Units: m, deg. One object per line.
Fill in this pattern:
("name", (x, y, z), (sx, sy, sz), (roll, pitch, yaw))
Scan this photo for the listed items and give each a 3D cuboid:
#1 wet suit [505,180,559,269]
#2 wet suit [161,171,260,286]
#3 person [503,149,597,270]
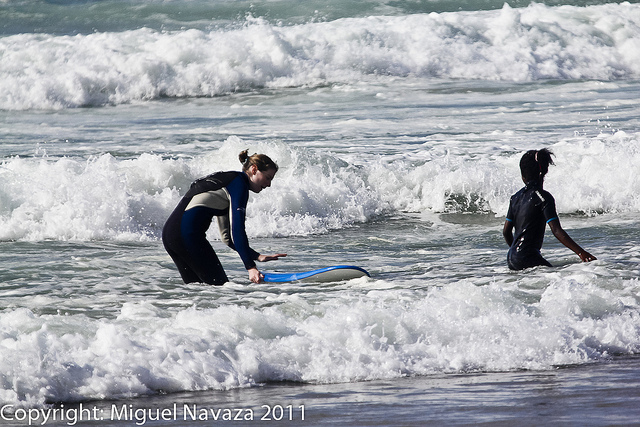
("wet suit", (3.525, 0.188, 16.366), (0.939, 1.531, 0.379), (2, 15, 42))
("wet suit", (-1.705, 0.285, 15.688), (1.458, 1.894, 0.676), (-1, 13, 33))
("person", (3.615, -0.057, 16.268), (0.582, 2.021, 1.131), (-18, 14, -41))
